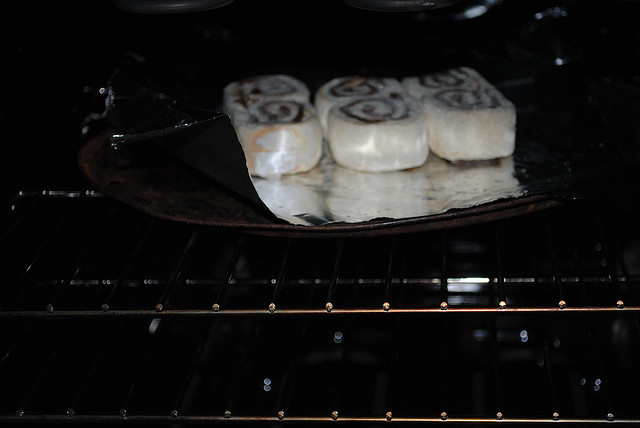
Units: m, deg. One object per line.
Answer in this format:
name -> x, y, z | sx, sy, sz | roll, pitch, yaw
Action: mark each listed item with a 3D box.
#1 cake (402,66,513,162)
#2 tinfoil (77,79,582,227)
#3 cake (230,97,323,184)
cake -> 0.329, -0.228, 1.308 | 0.219, 0.096, 0.273 | -10, 24, -13
tinfoil -> 0.062, -0.086, 1.163 | 0.759, 0.093, 0.456 | -4, 44, -11
cake -> -0.093, -0.170, 1.258 | 0.215, 0.126, 0.175 | -8, 56, -4
